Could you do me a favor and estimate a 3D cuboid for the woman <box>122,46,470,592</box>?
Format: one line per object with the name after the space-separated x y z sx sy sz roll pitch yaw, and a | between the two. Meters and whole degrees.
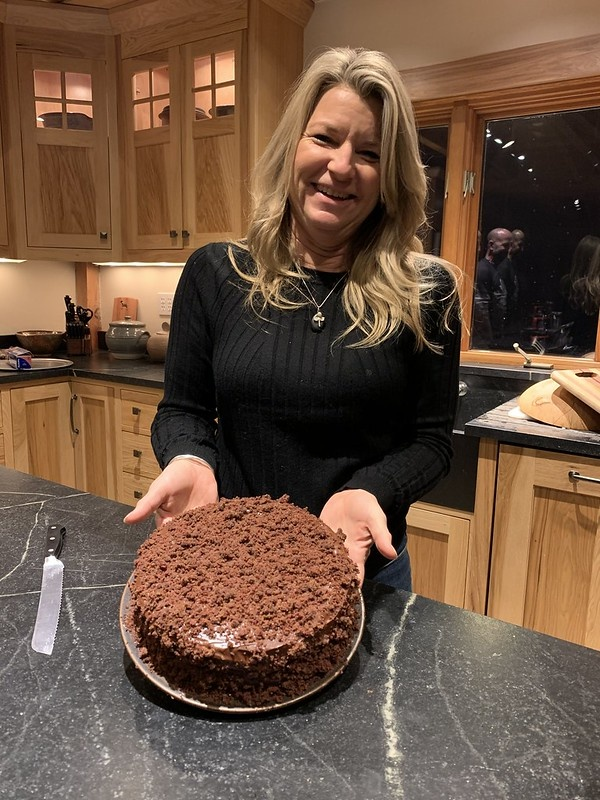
-0.019 -0.172 0.887 0.508 0.733 0.494 4 10 15 | woman

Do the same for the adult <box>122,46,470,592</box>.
-0.020 -0.172 0.886 0.508 0.733 0.496 4 10 15 | adult

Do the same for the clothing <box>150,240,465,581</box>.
-0.001 0.026 1.004 0.498 0.591 0.385 4 18 1 | clothing
